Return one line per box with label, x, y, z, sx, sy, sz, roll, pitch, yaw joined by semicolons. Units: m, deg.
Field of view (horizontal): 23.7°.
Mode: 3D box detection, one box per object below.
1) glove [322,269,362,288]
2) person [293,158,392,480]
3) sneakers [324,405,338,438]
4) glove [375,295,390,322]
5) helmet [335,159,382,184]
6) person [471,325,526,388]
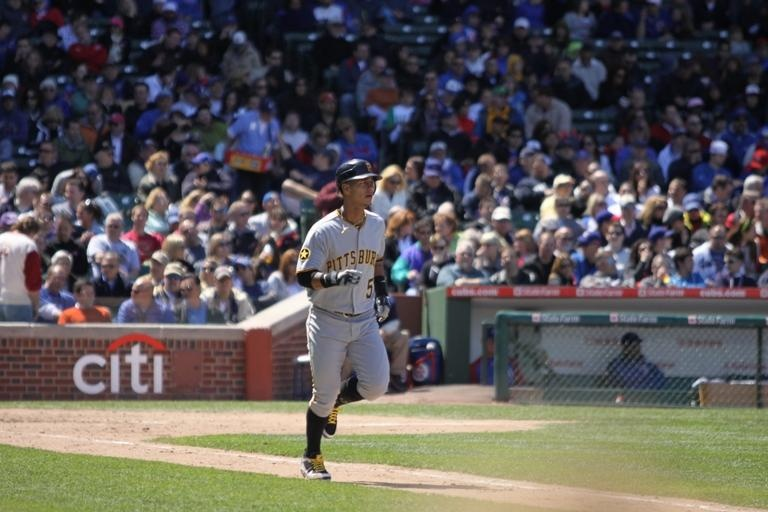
glove;-0.592;0.323;24.695;0.349;0.175;0.267;-11;8;-15
person;-0.552;0.878;24.989;1.237;4.344;0.797;-1;-4;-1
sneakers;-0.707;2.257;25.389;0.159;0.528;0.221;10;-32;-21
glove;0.008;0.736;25.114;0.128;0.305;0.223;4;-9;-23
helmet;-0.384;-1.130;24.982;0.463;0.219;0.343;-13;3;14
person;1.801;1.783;29.369;0.711;1.267;0.741;-2;-37;6
